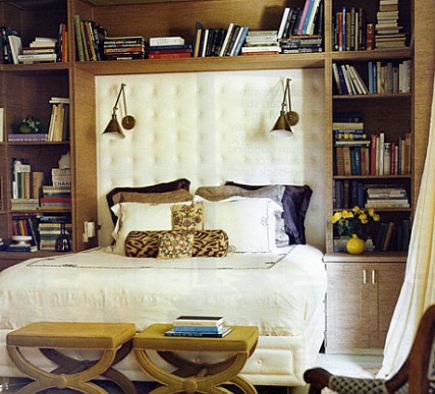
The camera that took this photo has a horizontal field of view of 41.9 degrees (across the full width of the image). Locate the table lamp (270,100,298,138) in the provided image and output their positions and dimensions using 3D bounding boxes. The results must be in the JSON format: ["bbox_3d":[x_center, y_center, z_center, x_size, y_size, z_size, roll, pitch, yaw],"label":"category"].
[{"bbox_3d":[0.410,-0.459,3.486,0.141,0.181,0.186,3,4,28],"label":"table lamp"}]

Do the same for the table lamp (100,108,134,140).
[{"bbox_3d":[-0.599,-0.438,3.403,0.181,0.171,0.154,0,5,1],"label":"table lamp"}]

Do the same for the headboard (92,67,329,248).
[{"bbox_3d":[-0.024,-0.229,3.352,1.251,0.996,0.099,0,-1,0],"label":"headboard"}]

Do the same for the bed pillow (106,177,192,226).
[{"bbox_3d":[-0.477,0.107,3.533,0.449,0.295,0.132,-31,-16,15],"label":"bed pillow"}]
